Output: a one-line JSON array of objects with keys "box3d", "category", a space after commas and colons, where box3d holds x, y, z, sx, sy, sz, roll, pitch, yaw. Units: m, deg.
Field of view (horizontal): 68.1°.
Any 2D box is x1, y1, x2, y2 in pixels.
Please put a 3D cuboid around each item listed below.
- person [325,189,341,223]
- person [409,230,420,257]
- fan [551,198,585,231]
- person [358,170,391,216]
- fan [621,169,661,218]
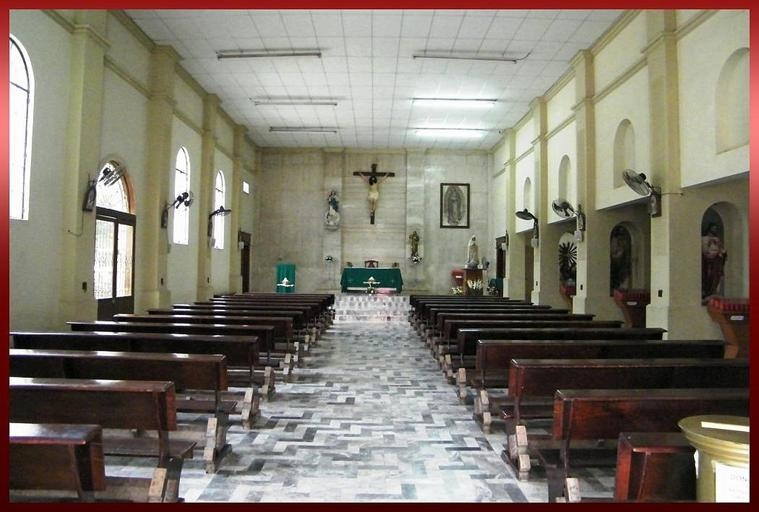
[{"box3d": [-1.720, -1.814, 20.806, 0.516, 1.244, 0.392, 1, -3, -10], "category": "person"}, {"box3d": [1.295, -0.443, 20.587, 0.392, 0.945, 0.226, 1, -3, -3], "category": "person"}, {"box3d": [4.436, -0.929, 13.070, 0.655, 0.855, 1.307, 0, -4, 16], "category": "fan"}, {"box3d": [-0.209, -2.391, 20.908, 1.419, 1.710, 0.444, 1, -3, -3], "category": "person"}, {"box3d": [4.634, -1.102, 9.878, 0.623, 0.835, 0.354, 0, -3, 12], "category": "fan"}]
